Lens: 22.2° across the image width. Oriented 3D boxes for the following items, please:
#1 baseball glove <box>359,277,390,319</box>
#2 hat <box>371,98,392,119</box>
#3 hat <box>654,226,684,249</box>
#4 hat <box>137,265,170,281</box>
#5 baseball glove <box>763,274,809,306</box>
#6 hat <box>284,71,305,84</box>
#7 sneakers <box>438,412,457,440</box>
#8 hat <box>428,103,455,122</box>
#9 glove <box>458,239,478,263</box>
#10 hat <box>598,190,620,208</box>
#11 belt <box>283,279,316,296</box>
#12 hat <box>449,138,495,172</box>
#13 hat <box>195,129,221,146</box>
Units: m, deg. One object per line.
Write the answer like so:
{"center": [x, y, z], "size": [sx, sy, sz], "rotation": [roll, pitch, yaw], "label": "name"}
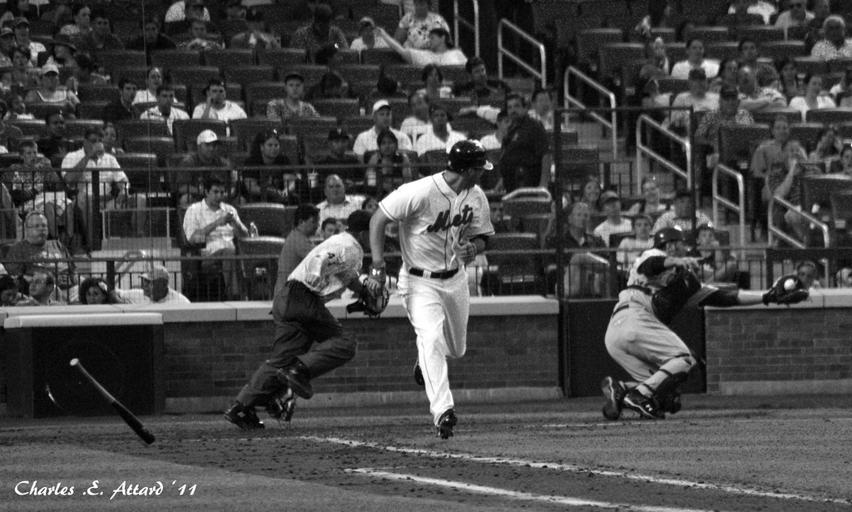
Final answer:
{"center": [-0.723, 0.600, 32.060], "size": [0.437, 0.566, 0.281], "rotation": [5, 15, 25], "label": "baseball glove"}
{"center": [-0.780, -2.570, 38.217], "size": [0.461, 0.234, 0.734], "rotation": [-1, -3, -7], "label": "hat"}
{"center": [3.765, -0.280, 33.308], "size": [0.417, 0.185, 0.303], "rotation": [-10, 6, -19], "label": "hat"}
{"center": [-4.395, 0.274, 35.133], "size": [0.363, 0.174, 0.238], "rotation": [2, -3, -10], "label": "hat"}
{"center": [5.434, 0.541, 32.650], "size": [0.601, 0.277, 0.434], "rotation": [-17, 11, -5], "label": "baseball glove"}
{"center": [-2.390, -3.207, 39.335], "size": [0.341, 0.114, 0.364], "rotation": [1, -8, -9], "label": "hat"}
{"center": [0.298, 2.452, 31.281], "size": [0.244, 0.422, 0.207], "rotation": [0, 35, -28], "label": "sneakers"}
{"center": [0.287, -2.481, 37.652], "size": [0.318, 0.355, 0.420], "rotation": [2, 14, -3], "label": "hat"}
{"center": [0.630, -0.062, 31.840], "size": [0.219, 0.313, 0.338], "rotation": [2, 6, 42], "label": "glove"}
{"center": [3.017, -0.943, 35.555], "size": [0.233, 0.302, 0.117], "rotation": [-5, -4, 11], "label": "hat"}
{"center": [-1.969, 0.458, 32.736], "size": [0.260, 0.119, 0.341], "rotation": [10, -7, 39], "label": "belt"}
{"center": [0.660, -1.481, 31.777], "size": [0.637, 0.369, 0.435], "rotation": [-6, 24, -10], "label": "hat"}
{"center": [-3.735, -1.977, 36.482], "size": [0.266, 0.192, 0.367], "rotation": [-4, -4, -27], "label": "hat"}
